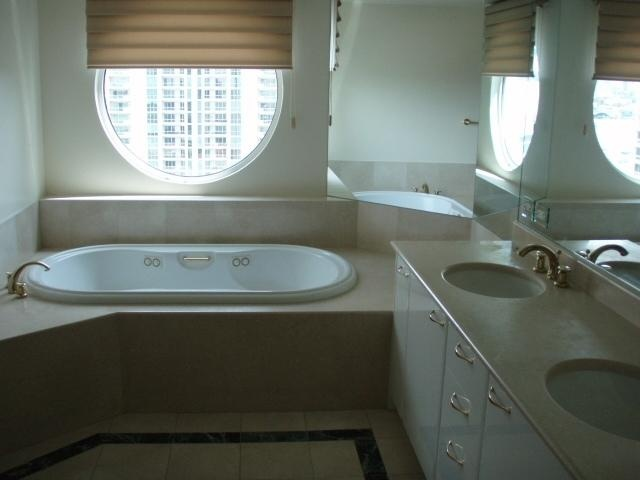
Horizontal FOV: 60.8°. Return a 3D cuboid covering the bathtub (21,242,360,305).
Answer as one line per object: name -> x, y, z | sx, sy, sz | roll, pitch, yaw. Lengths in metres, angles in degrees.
bathtub -> -0.759, 0.274, 3.332 | 1.947, 0.307, 0.863 | -1, 15, -1

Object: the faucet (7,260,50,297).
faucet -> -1.662, 0.176, 3.091 | 0.216, 0.184, 0.358 | -9, 17, -29
